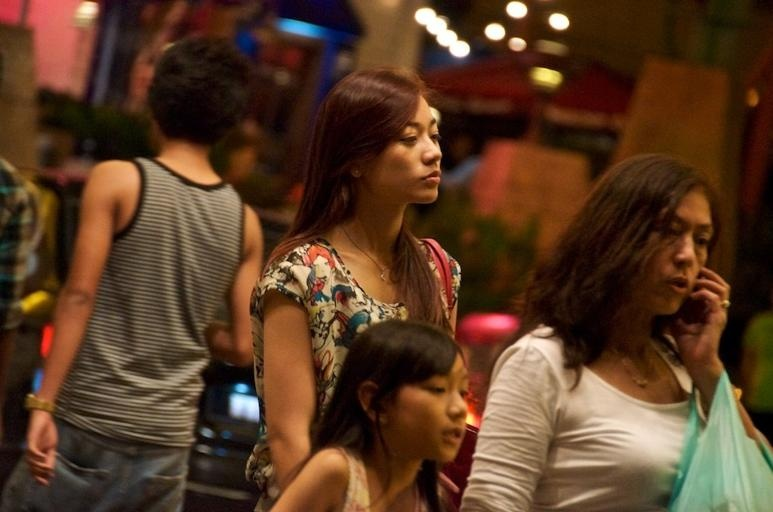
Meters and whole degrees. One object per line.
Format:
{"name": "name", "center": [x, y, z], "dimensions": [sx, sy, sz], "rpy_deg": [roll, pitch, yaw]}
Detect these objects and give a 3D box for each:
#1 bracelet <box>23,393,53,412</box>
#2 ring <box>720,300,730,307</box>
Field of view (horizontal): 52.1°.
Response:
{"name": "bracelet", "center": [-1.292, 0.540, 2.930], "dimensions": [0.078, 0.036, 0.076], "rpy_deg": [22, -9, -12]}
{"name": "ring", "center": [1.280, 0.179, 2.986], "dimensions": [0.040, 0.030, 0.020], "rpy_deg": [1, -4, -41]}
